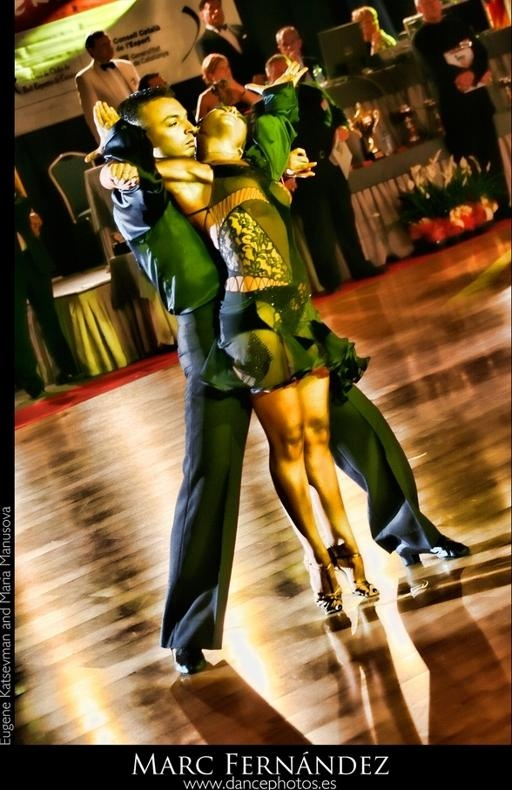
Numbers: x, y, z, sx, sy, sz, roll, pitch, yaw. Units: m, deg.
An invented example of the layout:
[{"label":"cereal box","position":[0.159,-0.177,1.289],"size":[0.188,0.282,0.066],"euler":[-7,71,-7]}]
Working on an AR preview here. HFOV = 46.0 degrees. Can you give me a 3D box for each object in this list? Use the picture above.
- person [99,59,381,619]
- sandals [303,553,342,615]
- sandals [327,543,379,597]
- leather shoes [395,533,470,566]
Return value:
[{"label":"person","position":[-0.023,-0.075,1.382],"size":[0.365,1.266,0.223],"euler":[-18,11,-8]},{"label":"sandals","position":[0.166,0.463,1.437],"size":[0.061,0.179,0.070],"euler":[-13,3,4]},{"label":"sandals","position":[0.233,0.433,1.476],"size":[0.041,0.138,0.057],"euler":[-31,-15,-25]},{"label":"leather shoes","position":[0.438,0.395,1.561],"size":[0.204,0.087,0.071],"euler":[-12,42,8]}]
